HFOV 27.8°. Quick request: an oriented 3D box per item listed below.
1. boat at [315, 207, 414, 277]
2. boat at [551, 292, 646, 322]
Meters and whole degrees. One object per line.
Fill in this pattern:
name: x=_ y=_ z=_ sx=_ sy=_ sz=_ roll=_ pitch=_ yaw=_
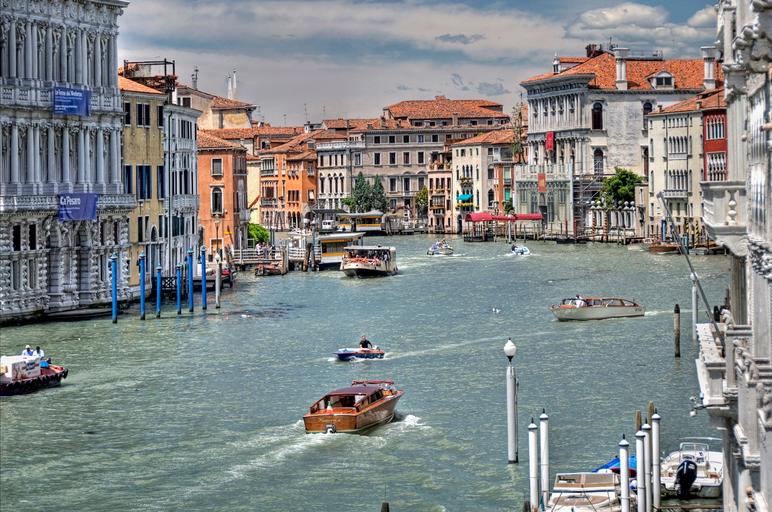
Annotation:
boat: x=-2.221 y=-1.464 z=147.626 sx=6.771 sy=7.556 sz=20.213 roll=1 pitch=3 yaw=-1
boat: x=11.907 y=2.960 z=87.816 sx=4.897 sy=1.455 sz=1.776 roll=-2 pitch=0 yaw=-19
